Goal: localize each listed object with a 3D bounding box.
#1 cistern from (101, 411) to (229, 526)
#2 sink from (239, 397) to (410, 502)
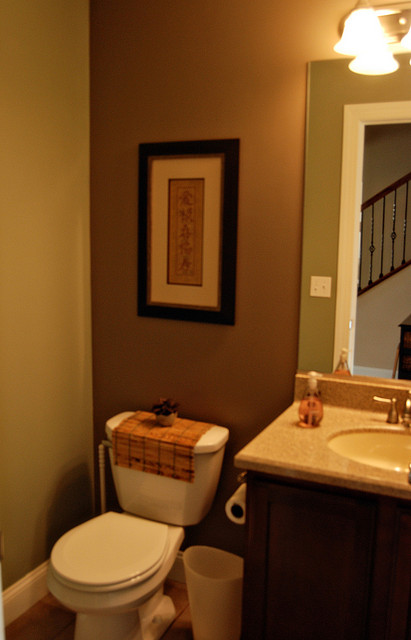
[{"bbox_3d":[-0.143,0.421,1.739,0.415,0.365,0.311,3,4,23],"label":"cistern"},{"bbox_3d":[0.347,0.322,1.333,0.372,0.125,0.562,6,8,24],"label":"sink"}]
